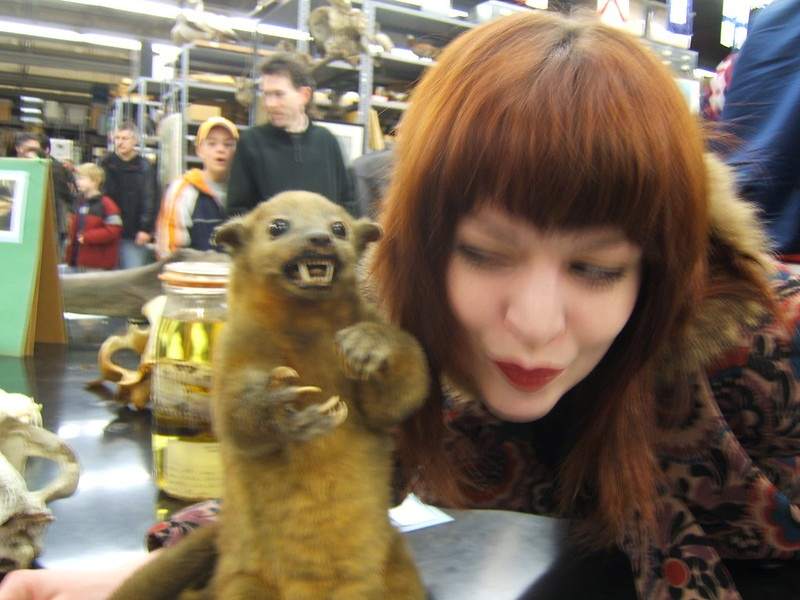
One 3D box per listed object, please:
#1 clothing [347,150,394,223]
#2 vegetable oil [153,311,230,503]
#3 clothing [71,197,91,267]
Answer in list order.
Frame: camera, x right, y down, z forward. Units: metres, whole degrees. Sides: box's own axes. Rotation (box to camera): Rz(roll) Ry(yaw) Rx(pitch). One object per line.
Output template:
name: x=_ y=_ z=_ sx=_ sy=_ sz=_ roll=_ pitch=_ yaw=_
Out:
clothing: x=-0.046 y=-0.157 z=0.950 sx=0.068 sy=0.122 sz=0.072 roll=0 pitch=7 yaw=-6
vegetable oil: x=-0.257 y=0.118 z=0.925 sx=0.123 sy=0.263 sz=0.118 roll=3 pitch=-9 yaw=-37
clothing: x=-1.286 y=-0.276 z=2.780 sx=0.082 sy=0.350 sz=0.041 roll=-6 pitch=31 yaw=-40
